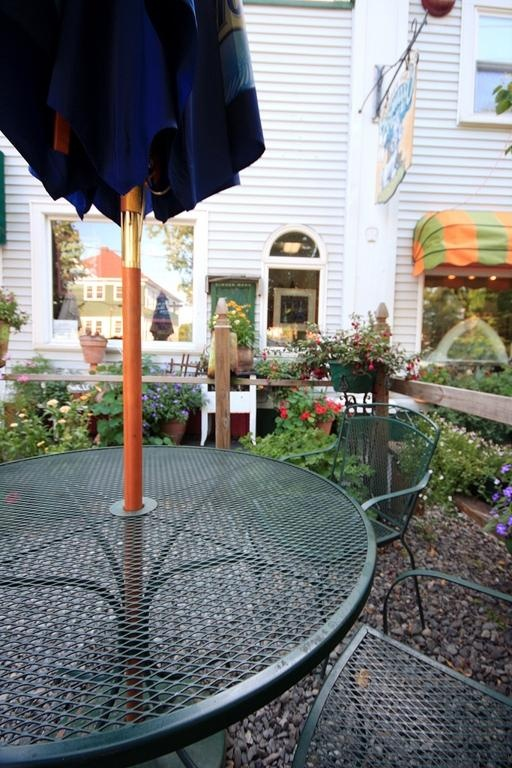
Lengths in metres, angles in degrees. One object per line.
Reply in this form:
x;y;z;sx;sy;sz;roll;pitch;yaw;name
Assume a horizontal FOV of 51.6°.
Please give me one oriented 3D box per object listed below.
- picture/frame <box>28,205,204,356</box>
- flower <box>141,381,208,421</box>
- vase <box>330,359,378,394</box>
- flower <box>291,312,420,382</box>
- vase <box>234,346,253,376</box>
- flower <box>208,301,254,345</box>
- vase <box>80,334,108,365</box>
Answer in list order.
-1.409;-1.040;5.635;1.725;1.518;0.141;0;19;-14;picture/frame
-0.745;0.135;4.704;0.404;0.259;0.350;-10;30;-26;flower
0.681;-0.032;3.754;0.329;0.245;0.302;3;8;8;vase
0.716;-0.225;3.887;0.517;0.494;0.928;-3;9;-28;flower
-0.142;-0.195;4.804;0.205;0.242;0.174;1;7;16;vase
-0.215;-0.585;5.104;0.423;0.584;0.462;-8;14;-9;flower
-1.572;-0.351;5.294;0.279;0.356;0.271;-1;7;-12;vase
